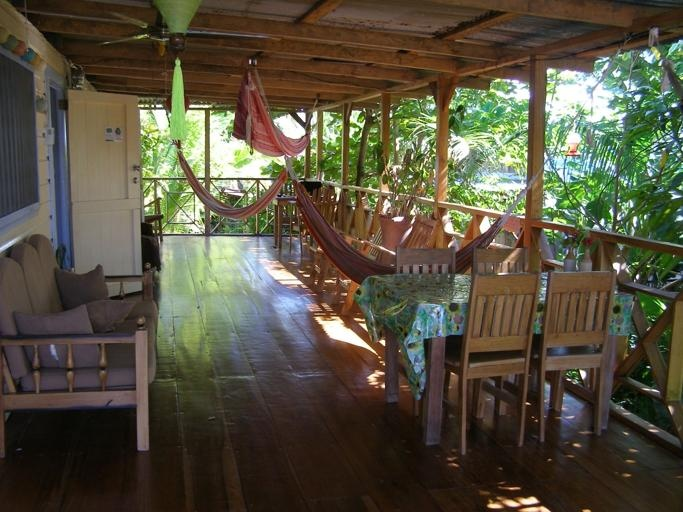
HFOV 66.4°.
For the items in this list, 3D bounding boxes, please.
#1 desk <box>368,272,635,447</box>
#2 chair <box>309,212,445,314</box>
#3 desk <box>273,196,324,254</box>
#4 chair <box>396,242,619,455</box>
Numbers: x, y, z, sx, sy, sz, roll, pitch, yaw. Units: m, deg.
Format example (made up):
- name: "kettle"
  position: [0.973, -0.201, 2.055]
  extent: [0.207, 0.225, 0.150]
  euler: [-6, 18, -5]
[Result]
- name: "desk"
  position: [1.060, 0.579, 3.743]
  extent: [1.636, 0.886, 1.355]
  euler: [-4, 3, -9]
- name: "chair"
  position: [0.363, -0.096, 6.117]
  extent: [0.880, 1.047, 1.446]
  euler: [1, 14, -18]
- name: "desk"
  position: [-1.051, -0.654, 10.390]
  extent: [0.785, 0.754, 0.596]
  euler: [-10, 8, -36]
- name: "chair"
  position: [1.033, 0.411, 3.639]
  extent: [1.369, 1.371, 1.021]
  euler: [-1, 9, -10]
